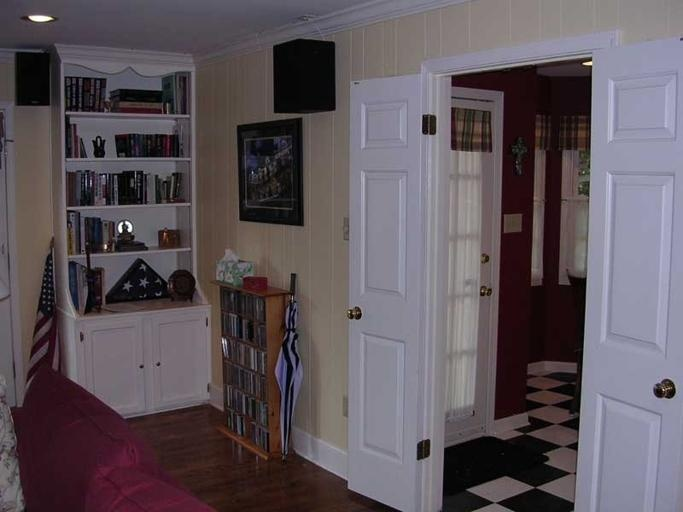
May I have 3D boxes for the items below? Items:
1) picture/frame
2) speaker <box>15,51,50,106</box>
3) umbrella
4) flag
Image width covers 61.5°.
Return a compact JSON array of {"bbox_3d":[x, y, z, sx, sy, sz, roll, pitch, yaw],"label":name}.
[{"bbox_3d":[-0.596,-0.668,4.681,0.750,0.821,0.040,5,7,39],"label":"picture/frame"},{"bbox_3d":[-2.731,-1.568,5.063,0.277,0.461,0.104,-4,8,-29],"label":"speaker"},{"bbox_3d":[-0.390,0.859,4.444,0.207,1.437,0.290,3,7,22],"label":"umbrella"},{"bbox_3d":[-2.757,0.531,5.257,0.287,1.352,0.402,-5,9,-37],"label":"flag"}]
